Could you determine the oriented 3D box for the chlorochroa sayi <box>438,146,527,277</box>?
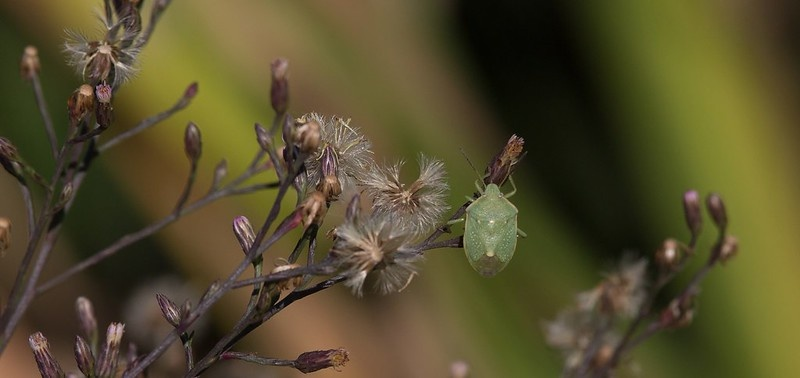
[{"bbox_3d":[0.726,0.217,6.099,0.634,0.217,0.816,5,-87,-9],"label":"chlorochroa sayi"}]

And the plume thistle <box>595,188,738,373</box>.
[{"bbox_3d":[1.864,0.684,5.675,0.592,0.720,1.663,0,-88,-2],"label":"plume thistle"}]
